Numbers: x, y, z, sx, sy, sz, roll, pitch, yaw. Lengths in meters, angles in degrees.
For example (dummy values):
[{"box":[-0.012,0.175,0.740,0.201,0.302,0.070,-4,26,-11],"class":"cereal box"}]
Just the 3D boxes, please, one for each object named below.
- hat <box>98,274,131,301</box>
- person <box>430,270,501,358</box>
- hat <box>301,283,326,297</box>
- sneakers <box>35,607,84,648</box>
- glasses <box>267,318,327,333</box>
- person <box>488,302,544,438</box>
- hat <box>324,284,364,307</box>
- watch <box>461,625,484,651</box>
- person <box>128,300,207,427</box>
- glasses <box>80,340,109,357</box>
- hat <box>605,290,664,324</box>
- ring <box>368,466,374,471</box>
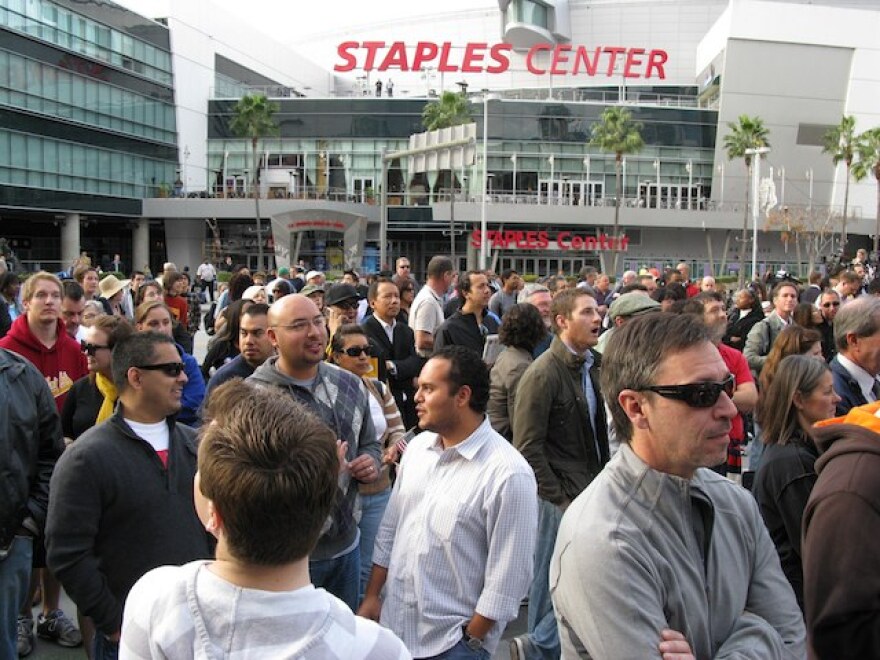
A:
[{"box":[-3.853,-0.547,11.262,0.398,0.141,0.428,-12,30,47],"class":"hat"},{"box":[0.295,-0.167,9.831,0.922,0.915,0.454,-3,3,-41],"class":"person"},{"box":[-1.522,-0.486,11.201,0.289,0.169,0.432,0,-5,-16],"class":"hat"},{"box":[-2.704,2.079,6.794,0.465,0.246,0.190,4,-1,25],"class":"sneakers"},{"box":[-0.879,-0.038,5.960,0.339,0.079,0.170,-1,3,-38],"class":"glasses"},{"box":[0.565,0.329,7.252,0.381,1.075,0.786,-1,14,-11],"class":"person"},{"box":[-0.948,-0.317,8.632,0.194,0.149,0.261,-1,-12,-40],"class":"hat"},{"box":[0.174,1.643,5.110,0.057,0.115,0.111,-44,10,-28],"class":"watch"},{"box":[-2.409,0.142,8.054,0.538,1.538,0.445,0,-13,-38],"class":"person"},{"box":[-2.500,0.129,6.834,0.158,0.052,0.158,7,-3,-32],"class":"glasses"},{"box":[1.657,-0.236,8.199,0.301,0.186,0.439,-1,13,25],"class":"hat"},{"box":[-0.448,0.864,5.965,0.026,0.028,0.008,1,-4,-26],"class":"ring"}]
